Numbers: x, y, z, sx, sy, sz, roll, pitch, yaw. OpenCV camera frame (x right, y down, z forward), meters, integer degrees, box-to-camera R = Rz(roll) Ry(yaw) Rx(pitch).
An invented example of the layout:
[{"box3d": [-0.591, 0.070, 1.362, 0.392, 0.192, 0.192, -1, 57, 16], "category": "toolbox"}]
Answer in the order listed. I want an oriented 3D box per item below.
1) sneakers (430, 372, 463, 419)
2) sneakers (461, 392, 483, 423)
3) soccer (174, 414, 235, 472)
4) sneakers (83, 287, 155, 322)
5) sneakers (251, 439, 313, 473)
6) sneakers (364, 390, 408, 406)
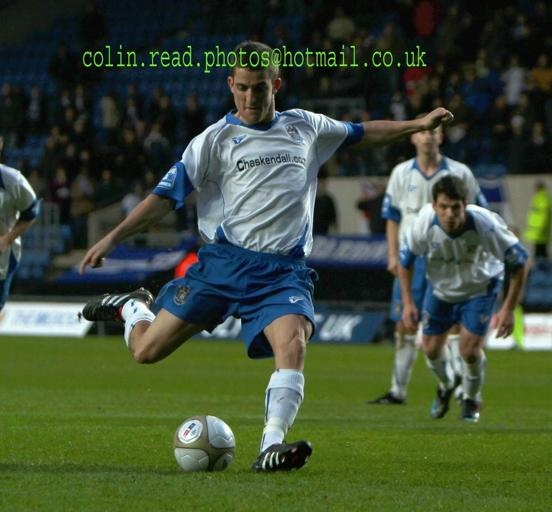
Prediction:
[{"box3d": [1.508, 1.277, 10.325, 0.203, 0.492, 0.176, 15, 17, -16], "category": "sneakers"}, {"box3d": [1.708, 1.307, 10.070, 0.167, 0.245, 0.524, -2, -7, 10], "category": "sneakers"}, {"box3d": [-0.524, 1.302, 8.226, 0.341, 0.378, 0.359, 19, 5, 37], "category": "soccer"}, {"box3d": [-1.304, 0.404, 9.352, 0.626, 0.243, 0.290, -5, -11, 16], "category": "sneakers"}, {"box3d": [0.051, 1.370, 8.029, 0.452, 0.214, 0.166, -28, -35, 26], "category": "sneakers"}, {"box3d": [0.897, 1.132, 9.341, 0.334, 0.143, 0.115, 7, -7, -32], "category": "sneakers"}]
